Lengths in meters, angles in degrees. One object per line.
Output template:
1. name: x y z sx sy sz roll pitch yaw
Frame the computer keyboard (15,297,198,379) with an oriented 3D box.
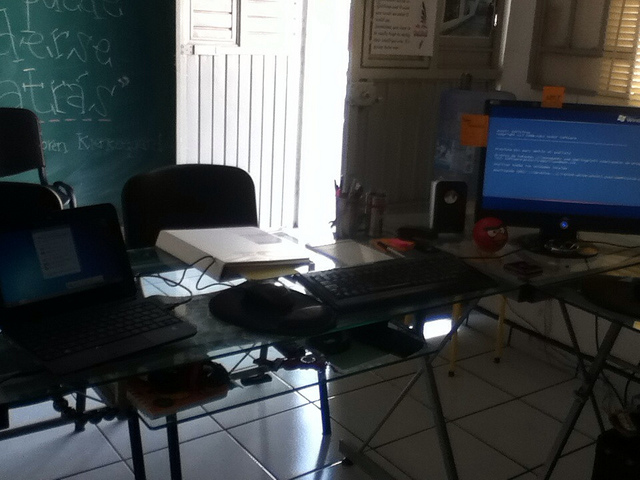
1. computer keyboard: -0.470 0.205 1.117 0.321 0.025 0.223 -15 25 -37

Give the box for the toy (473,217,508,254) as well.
1. toy: 0.594 -0.020 1.810 0.117 0.127 0.124 -11 17 -29

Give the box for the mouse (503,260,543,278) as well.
1. mouse: 0.655 0.090 1.633 0.071 0.021 0.069 -5 17 -21

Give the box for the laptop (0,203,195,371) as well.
1. laptop: -0.523 0.138 1.159 0.358 0.269 0.403 -15 26 -41

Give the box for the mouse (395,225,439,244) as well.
1. mouse: 0.370 -0.024 1.878 0.090 0.023 0.096 -3 13 -31

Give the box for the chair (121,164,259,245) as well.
1. chair: -0.565 -0.211 2.102 0.387 0.473 0.397 -7 14 -28

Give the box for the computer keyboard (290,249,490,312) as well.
1. computer keyboard: 0.252 0.119 1.505 0.587 0.067 0.276 -5 18 -24

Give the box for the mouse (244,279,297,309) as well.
1. mouse: -0.131 0.127 1.263 0.067 0.032 0.090 21 -6 -28

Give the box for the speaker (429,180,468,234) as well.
1. speaker: 0.498 -0.130 1.947 0.111 0.214 0.123 -20 34 -38

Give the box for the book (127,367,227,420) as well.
1. book: -0.356 0.373 1.225 0.165 0.037 0.162 -8 21 -38

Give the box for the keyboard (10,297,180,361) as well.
1. keyboard: -0.502 0.192 1.136 0.313 0.013 0.171 -16 25 -39
